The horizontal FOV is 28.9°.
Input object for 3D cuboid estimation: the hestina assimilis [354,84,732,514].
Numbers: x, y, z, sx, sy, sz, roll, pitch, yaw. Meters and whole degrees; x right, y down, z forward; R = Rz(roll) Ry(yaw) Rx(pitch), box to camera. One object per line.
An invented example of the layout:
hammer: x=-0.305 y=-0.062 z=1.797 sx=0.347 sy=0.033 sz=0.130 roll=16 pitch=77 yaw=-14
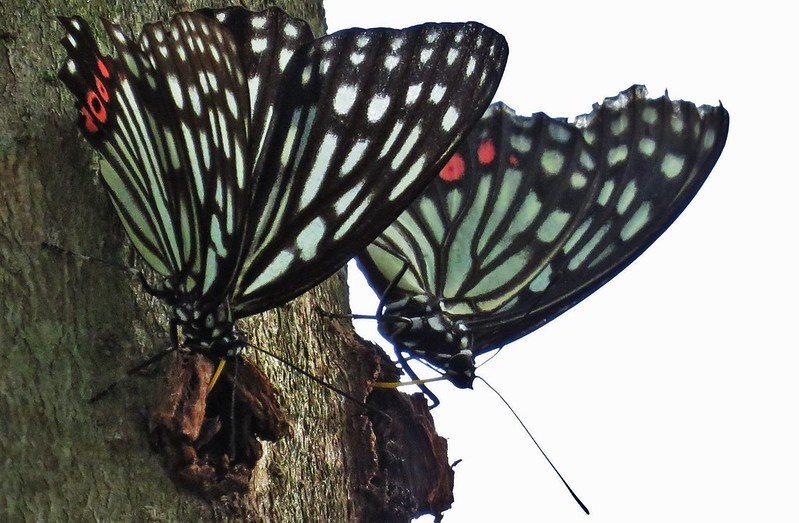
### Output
hestina assimilis: x=0.872 y=-0.116 z=8.827 sx=2.032 sy=2.050 sz=1.441 roll=40 pitch=-93 yaw=13
